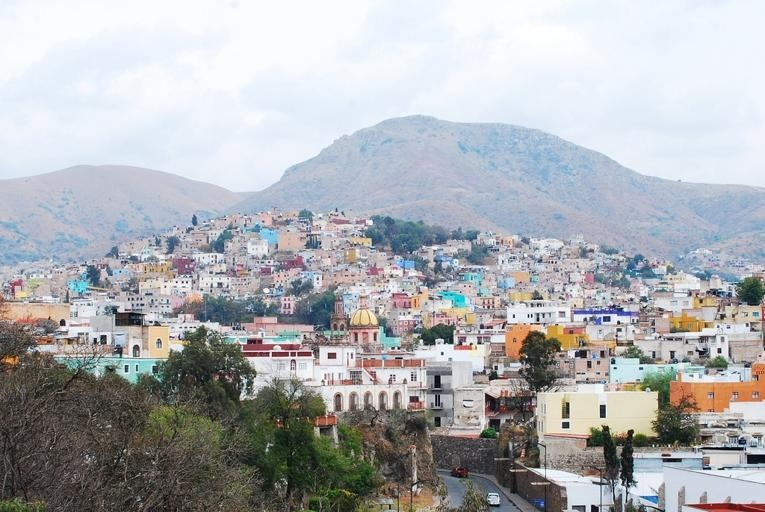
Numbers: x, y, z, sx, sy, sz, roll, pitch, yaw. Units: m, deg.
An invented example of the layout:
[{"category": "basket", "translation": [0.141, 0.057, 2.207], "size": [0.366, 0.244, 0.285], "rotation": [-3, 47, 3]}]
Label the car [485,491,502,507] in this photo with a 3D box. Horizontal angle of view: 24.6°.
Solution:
[{"category": "car", "translation": [7.802, 17.417, 124.968], "size": [0.825, 0.597, 1.725], "rotation": [1, 8, 4]}]
